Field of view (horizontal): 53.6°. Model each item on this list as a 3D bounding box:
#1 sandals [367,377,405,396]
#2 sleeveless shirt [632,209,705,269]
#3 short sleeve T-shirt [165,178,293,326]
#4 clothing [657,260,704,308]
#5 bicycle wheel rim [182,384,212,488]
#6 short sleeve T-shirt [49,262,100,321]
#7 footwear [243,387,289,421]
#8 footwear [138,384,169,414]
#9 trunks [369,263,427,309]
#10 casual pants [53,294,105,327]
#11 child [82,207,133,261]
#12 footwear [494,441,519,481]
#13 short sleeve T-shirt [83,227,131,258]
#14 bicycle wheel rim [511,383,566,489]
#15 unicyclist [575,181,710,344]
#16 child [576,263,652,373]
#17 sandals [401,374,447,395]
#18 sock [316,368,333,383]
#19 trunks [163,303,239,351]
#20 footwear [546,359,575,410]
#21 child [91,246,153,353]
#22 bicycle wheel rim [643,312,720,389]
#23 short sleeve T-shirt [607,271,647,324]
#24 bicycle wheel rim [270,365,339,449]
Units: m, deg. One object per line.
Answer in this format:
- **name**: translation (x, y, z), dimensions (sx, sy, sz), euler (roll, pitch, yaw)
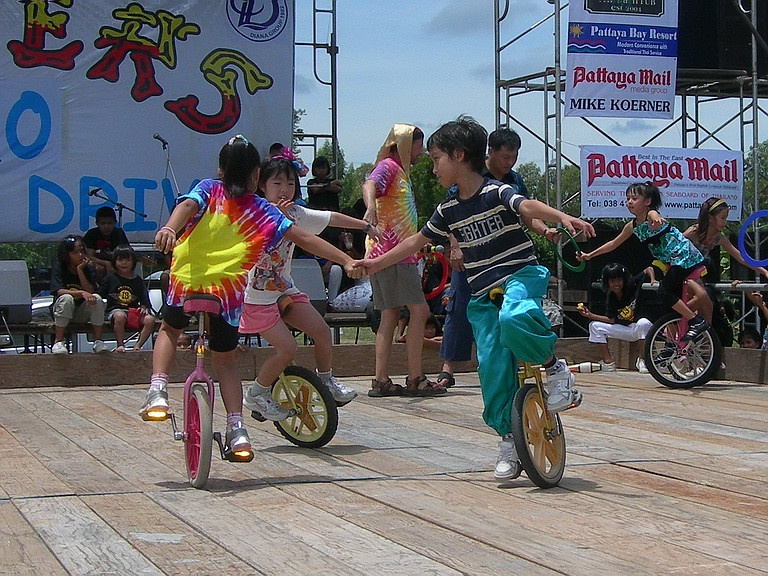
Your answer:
- **sandals**: translation (0.015, 0.775, 5.945), dimensions (0.294, 0.129, 0.109), euler (-1, 1, -18)
- **sleeveless shirt**: translation (2.348, -0.359, 6.305), dimensions (0.551, 0.394, 0.287), euler (1, 3, 23)
- **short sleeve T-shirt**: translation (-0.800, -0.177, 3.642), dimensions (0.613, 0.667, 0.418), euler (4, -14, 12)
- **clothing**: translation (2.468, -0.036, 6.301), dimensions (0.232, 0.153, 0.385), euler (-4, -37, -21)
- **bicycle wheel rim**: translation (-0.828, 0.665, 3.398), dimensions (0.127, 0.463, 0.286), euler (-1, 3, -16)
- **short sleeve T-shirt**: translation (-2.661, 0.035, 6.581), dimensions (0.374, 0.609, 0.366), euler (-18, -20, 42)
- **footwear**: translation (-0.642, 0.647, 4.260), dimensions (0.249, 0.129, 0.094), euler (30, 40, 4)
- **footwear**: translation (-1.026, 0.507, 3.419), dimensions (0.114, 0.132, 0.186), euler (0, 2, -15)
- **trunks**: translation (0.114, 0.124, 5.877), dimensions (0.300, 0.529, 0.516), euler (-5, -5, -16)
- **casual pants**: translation (-2.602, 0.204, 6.496), dimensions (0.293, 0.165, 0.329), euler (1, -5, -31)
- **child**: translation (-2.675, -0.507, 7.323), dimensions (0.393, 0.555, 0.495), euler (2, 0, -22)
- **footwear**: translation (0.563, 0.795, 3.480), dimensions (0.079, 0.111, 0.241), euler (-4, 0, 12)
- **short sleeve T-shirt**: translation (-2.623, -0.423, 7.213), dimensions (0.309, 0.302, 0.174), euler (0, -25, -27)
- **bicycle wheel rim**: translation (0.695, 0.662, 3.417), dimensions (0.111, 0.346, 0.317), euler (-15, -45, 32)
- **unicyclist**: translation (2.117, -0.268, 6.199), dimensions (0.992, 1.336, 0.875), euler (-1, -11, 15)
- **child**: translation (2.308, 0.311, 7.585), dimensions (0.741, 1.025, 0.601), euler (-20, -35, 34)
- **sandals**: translation (0.332, 0.760, 5.978), dimensions (0.283, 0.131, 0.151), euler (1, -1, -11)
- **sock**: translation (-0.332, 0.517, 4.437), dimensions (0.065, 0.057, 0.079), euler (-1, 2, 10)
- **trunks**: translation (-0.813, 0.200, 3.589), dimensions (0.212, 0.096, 0.289), euler (19, -9, -3)
- **footwear**: translation (0.796, 0.455, 3.478), dimensions (0.112, 0.140, 0.355), euler (-12, 13, 27)
- **child**: translation (-2.303, 0.084, 6.749), dimensions (0.540, 1.018, 0.534), euler (0, -8, -16)
- **bicycle wheel rim**: translation (2.466, 0.519, 6.290), dimensions (0.574, 0.599, 0.378), euler (1, 3, 25)
- **short sleeve T-shirt**: translation (2.331, 0.099, 7.333), dimensions (0.279, 0.452, 0.357), euler (15, -17, -11)
- **bicycle wheel rim**: translation (-0.467, 0.683, 4.263), dimensions (0.475, 0.495, 0.140), euler (6, 19, 25)
